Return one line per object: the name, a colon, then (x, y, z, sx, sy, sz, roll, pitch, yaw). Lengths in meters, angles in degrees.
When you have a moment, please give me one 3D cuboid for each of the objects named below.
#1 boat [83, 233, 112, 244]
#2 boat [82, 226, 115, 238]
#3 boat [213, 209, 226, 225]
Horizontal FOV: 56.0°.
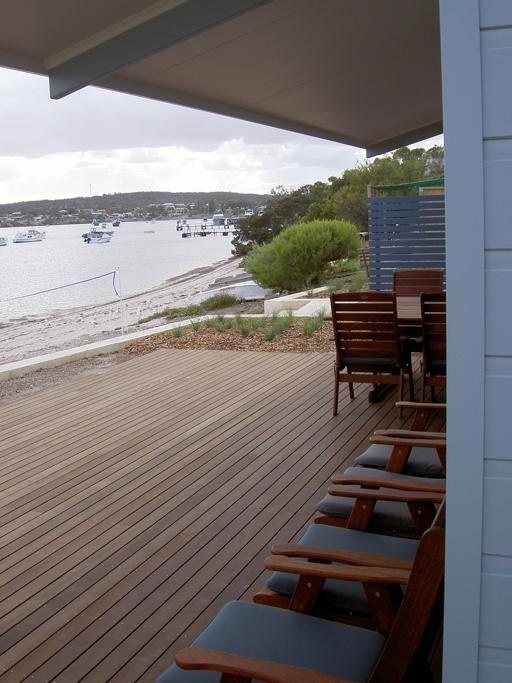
boat: (-16.277, -10.545, 49.577, 1.048, 0.915, 3.000, 13, 22, 31)
boat: (-16.588, -11.468, 51.407, 3.865, 1.414, 1.393, -2, 15, -5)
boat: (-4.967, -16.594, 65.307, 1.191, 1.644, 3.907, -3, 18, -3)
